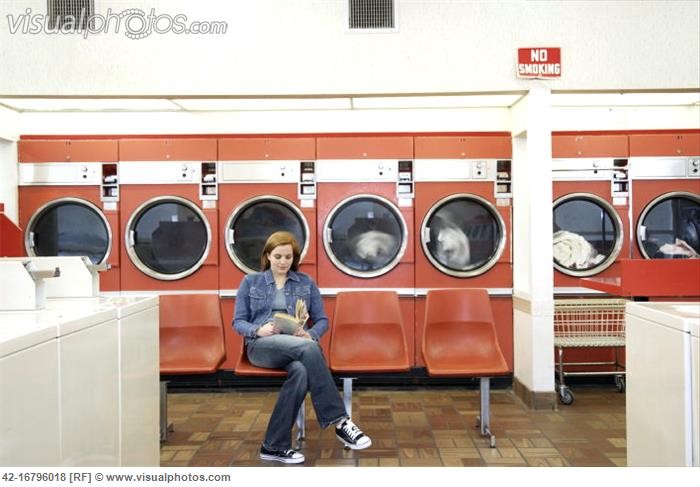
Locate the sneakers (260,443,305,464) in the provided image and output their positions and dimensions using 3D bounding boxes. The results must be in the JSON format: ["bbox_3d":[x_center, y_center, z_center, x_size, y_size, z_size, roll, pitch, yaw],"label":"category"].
[{"bbox_3d":[-0.480,1.491,4.813,0.359,0.142,0.121,-1,-2,12],"label":"sneakers"}]

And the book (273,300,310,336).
[{"bbox_3d":[-0.434,0.549,4.918,0.242,0.094,0.232,-2,-40,-15],"label":"book"}]

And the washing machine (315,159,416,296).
[{"bbox_3d":[0.150,-0.005,6.472,0.915,1.358,0.889,-1,-18,3],"label":"washing machine"}]

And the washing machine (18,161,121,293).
[{"bbox_3d":[-2.733,-0.257,6.484,0.963,1.284,0.724,-5,26,-31],"label":"washing machine"}]

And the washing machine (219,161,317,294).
[{"bbox_3d":[-0.853,-0.312,6.663,1.034,1.760,1.017,0,37,-3],"label":"washing machine"}]

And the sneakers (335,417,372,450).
[{"bbox_3d":[0.014,1.357,4.795,0.142,0.157,0.365,-6,-7,-27],"label":"sneakers"}]

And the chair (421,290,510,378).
[{"bbox_3d":[0.866,0.680,5.251,0.586,0.497,0.733,-2,9,7],"label":"chair"}]

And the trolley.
[{"bbox_3d":[2.244,0.872,6.257,0.805,1.011,0.750,-3,-2,-1],"label":"trolley"}]

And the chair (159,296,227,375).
[{"bbox_3d":[-1.257,0.695,5.308,0.625,0.547,0.528,0,-3,-5],"label":"chair"}]

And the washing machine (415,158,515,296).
[{"bbox_3d":[1.057,-0.257,6.562,0.974,1.344,0.886,-3,18,3],"label":"washing machine"}]

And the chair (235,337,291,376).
[{"bbox_3d":[-0.712,0.889,5.121,0.436,0.357,0.565,3,-11,-7],"label":"chair"}]

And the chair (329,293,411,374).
[{"bbox_3d":[0.150,0.692,5.113,0.611,0.511,0.582,0,-2,-1],"label":"chair"}]

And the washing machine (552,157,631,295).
[{"bbox_3d":[2.196,0.024,6.530,0.872,1.526,0.771,2,-13,15],"label":"washing machine"}]

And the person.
[{"bbox_3d":[-0.394,0.735,4.958,0.794,1.548,0.977,-6,12,-26],"label":"person"}]
